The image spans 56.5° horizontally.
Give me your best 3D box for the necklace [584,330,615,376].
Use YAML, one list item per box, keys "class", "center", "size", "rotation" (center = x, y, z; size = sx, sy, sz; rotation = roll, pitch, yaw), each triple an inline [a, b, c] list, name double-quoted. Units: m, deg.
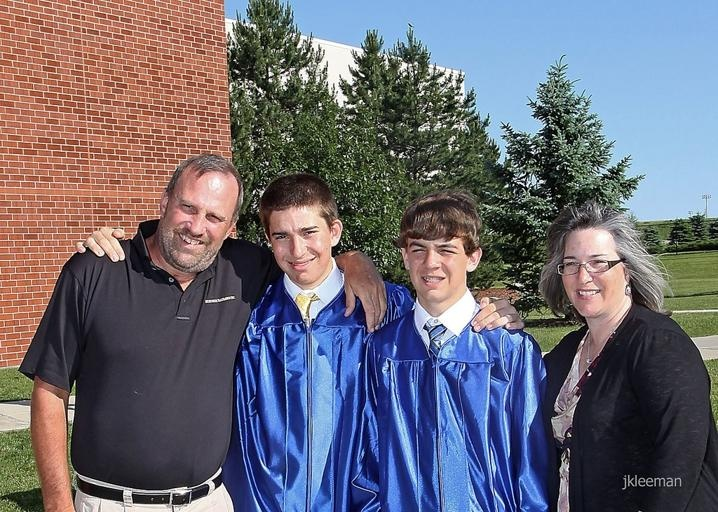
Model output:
- class: "necklace"
  center: [1.451, 0.595, 4.027]
  size: [0.037, 0.282, 0.048]
  rotation: [24, 5, -7]
